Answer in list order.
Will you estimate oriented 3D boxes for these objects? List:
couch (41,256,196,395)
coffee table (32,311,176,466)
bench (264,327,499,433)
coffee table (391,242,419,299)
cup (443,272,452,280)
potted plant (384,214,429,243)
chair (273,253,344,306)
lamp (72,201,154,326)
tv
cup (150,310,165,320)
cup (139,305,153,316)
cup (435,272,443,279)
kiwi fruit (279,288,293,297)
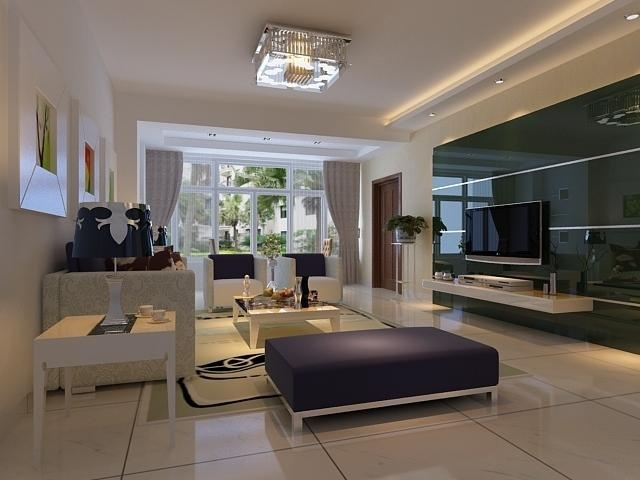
[{"bbox_3d":[-1.619,0.790,3.747,1.438,1.187,0.777,-1,3,-22],"label":"couch"},{"bbox_3d":[-1.320,0.707,2.803,0.652,0.686,0.974,-1,2,-19],"label":"coffee table"},{"bbox_3d":[0.428,0.974,3.291,1.576,0.430,0.626,-1,5,-15],"label":"bench"},{"bbox_3d":[1.496,0.506,7.806,0.306,0.987,0.922,0,5,1],"label":"coffee table"},{"bbox_3d":[1.823,0.508,6.319,0.097,0.077,0.099,0,-5,0],"label":"cup"},{"bbox_3d":[1.440,-0.193,7.337,0.491,0.364,0.503,-2,-2,32],"label":"potted plant"},{"bbox_3d":[-0.182,0.582,6.780,0.798,0.793,0.834,1,-5,-18],"label":"chair"},{"bbox_3d":[-1.351,0.133,2.913,0.435,0.761,0.398,3,6,28],"label":"lamp"},{"bbox_3d":[2.310,-0.090,5.575,0.101,0.796,1.306,-2,5,-21],"label":"tv"},{"bbox_3d":[-1.057,0.488,2.907,0.060,0.048,0.074,-1,-7,4],"label":"cup"},{"bbox_3d":[-1.200,0.484,3.073,0.069,0.061,0.088,0,-6,-9],"label":"cup"},{"bbox_3d":[1.758,0.527,6.577,0.093,0.093,0.095,0,-5,0],"label":"cup"},{"bbox_3d":[-0.381,0.587,4.980,0.100,0.053,0.099,-3,5,-39],"label":"kiwi fruit"}]
